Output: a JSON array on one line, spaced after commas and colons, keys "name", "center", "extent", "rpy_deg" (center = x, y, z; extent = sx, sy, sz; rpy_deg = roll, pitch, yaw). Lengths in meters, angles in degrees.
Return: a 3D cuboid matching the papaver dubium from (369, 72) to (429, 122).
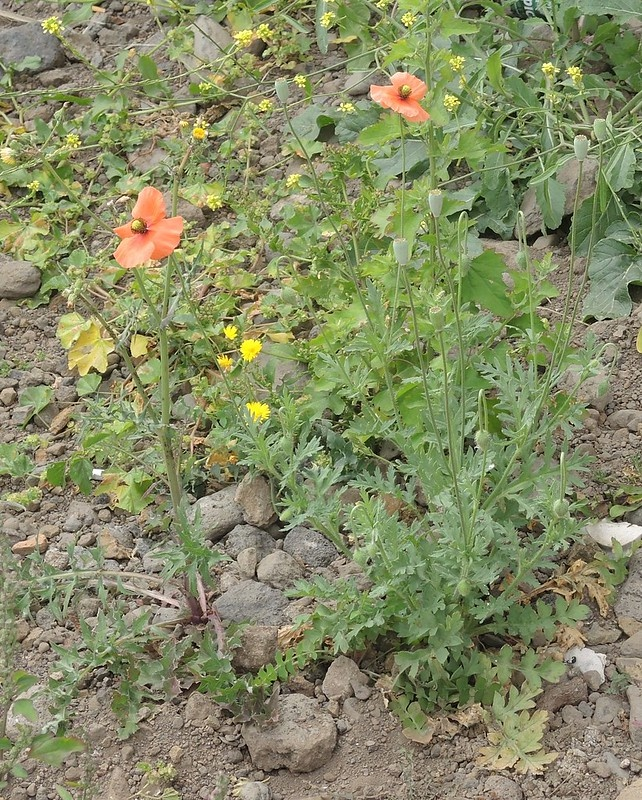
[{"name": "papaver dubium", "center": [0.191, -0.736, 2.086], "extent": [0.222, 0.063, 0.177], "rpy_deg": [7, 3, 11]}]
